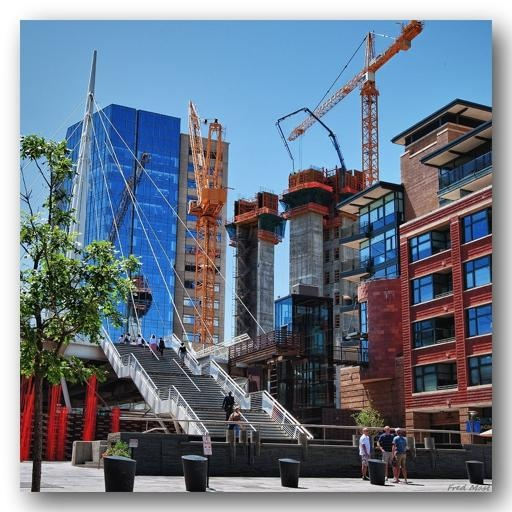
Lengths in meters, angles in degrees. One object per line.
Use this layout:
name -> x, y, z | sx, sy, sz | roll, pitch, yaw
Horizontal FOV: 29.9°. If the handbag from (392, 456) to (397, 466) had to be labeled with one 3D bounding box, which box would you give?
handbag -> 4.657, 6.871, 31.988 | 0.080, 0.279, 0.189 | 2, -3, -31
